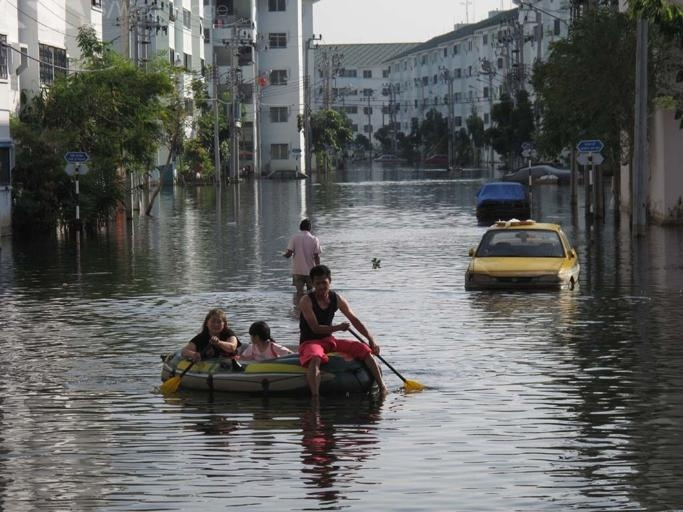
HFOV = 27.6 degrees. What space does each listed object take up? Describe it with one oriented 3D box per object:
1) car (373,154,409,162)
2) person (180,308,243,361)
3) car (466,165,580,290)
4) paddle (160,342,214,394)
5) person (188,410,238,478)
[{"bbox_3d":[5.773,-11.290,163.622,2.676,1.076,5.125,-2,1,-16],"label":"car"},{"bbox_3d":[-2.088,1.315,22.796,1.021,0.785,1.644,-1,-9,-1],"label":"person"},{"bbox_3d":[4.027,-0.023,31.061,2.449,1.554,2.305,-2,1,10],"label":"car"},{"bbox_3d":[-2.492,1.857,22.432,0.045,0.211,0.976,-44,-2,36],"label":"paddle"},{"bbox_3d":[-1.854,2.629,20.248,0.731,0.366,1.816,-2,1,-7],"label":"person"}]
